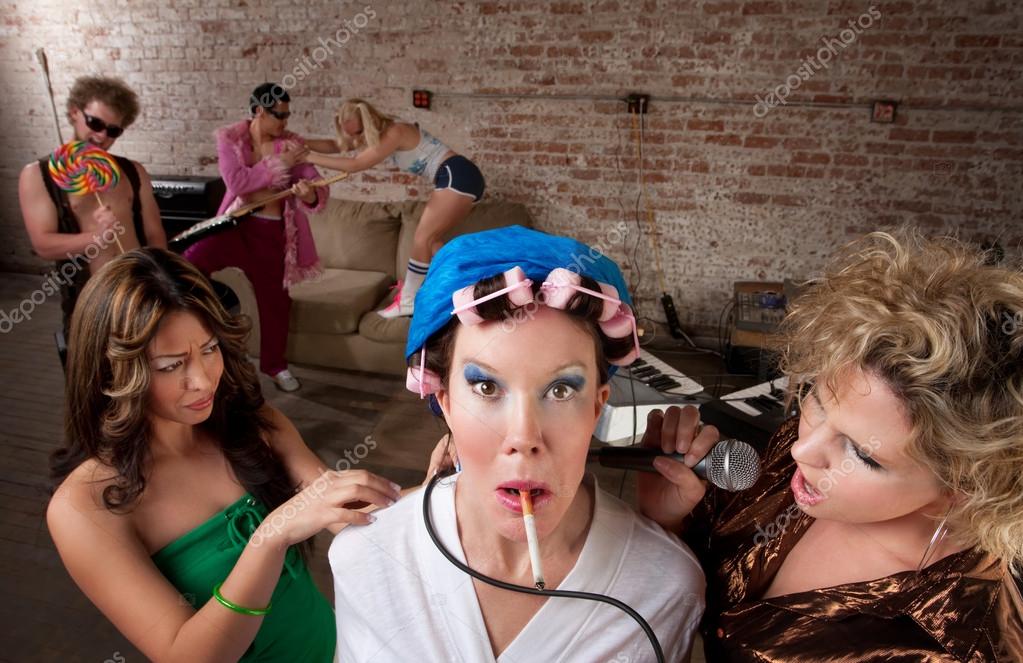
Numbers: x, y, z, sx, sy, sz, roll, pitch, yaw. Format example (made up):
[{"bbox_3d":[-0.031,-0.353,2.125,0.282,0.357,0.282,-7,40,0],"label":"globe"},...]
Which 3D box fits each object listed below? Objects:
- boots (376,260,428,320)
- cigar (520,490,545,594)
[{"bbox_3d":[-0.288,-0.100,2.378,0.072,0.169,0.204,18,10,26],"label":"boots"},{"bbox_3d":[0.042,0.440,1.866,0.039,0.233,0.031,-13,25,-19],"label":"cigar"}]
